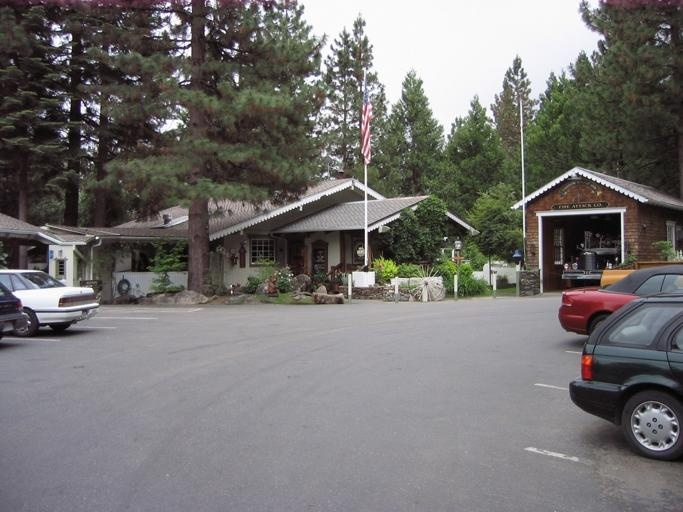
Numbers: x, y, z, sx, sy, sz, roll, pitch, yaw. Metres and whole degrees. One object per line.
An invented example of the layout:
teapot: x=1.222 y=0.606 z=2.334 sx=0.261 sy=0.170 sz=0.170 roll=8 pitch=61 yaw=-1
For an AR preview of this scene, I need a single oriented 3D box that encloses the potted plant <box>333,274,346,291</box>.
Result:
potted plant: x=-0.020 y=1.460 z=33.863 sx=0.802 sy=1.022 sz=0.800 roll=0 pitch=-5 yaw=-6
